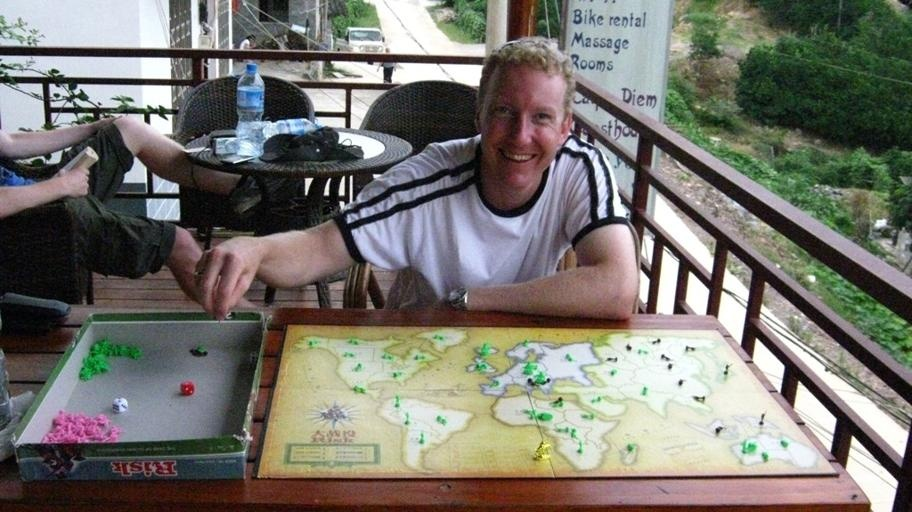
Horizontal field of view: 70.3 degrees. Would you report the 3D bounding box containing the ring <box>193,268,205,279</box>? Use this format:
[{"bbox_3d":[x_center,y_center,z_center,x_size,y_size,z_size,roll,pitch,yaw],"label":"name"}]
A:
[{"bbox_3d":[-0.857,0.057,2.158,0.033,0.023,0.032,0,19,0],"label":"ring"}]

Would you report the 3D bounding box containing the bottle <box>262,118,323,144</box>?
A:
[{"bbox_3d":[-0.966,-0.737,3.744,0.378,0.098,0.144,-12,55,-17],"label":"bottle"}]

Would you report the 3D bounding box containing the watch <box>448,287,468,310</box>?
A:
[{"bbox_3d":[0.010,0.150,2.295,0.069,0.066,0.030,-4,-20,25],"label":"watch"}]

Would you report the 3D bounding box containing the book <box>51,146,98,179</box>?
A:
[{"bbox_3d":[-2.019,-0.500,3.440,0.316,0.083,0.101,-31,38,20],"label":"book"}]

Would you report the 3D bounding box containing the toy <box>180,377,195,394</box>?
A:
[{"bbox_3d":[-0.800,0.385,1.945,0.038,0.038,0.039,32,2,-10],"label":"toy"}]

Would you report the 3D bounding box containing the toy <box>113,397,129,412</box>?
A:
[{"bbox_3d":[-0.976,0.438,1.884,0.039,0.033,0.039,7,20,21],"label":"toy"}]

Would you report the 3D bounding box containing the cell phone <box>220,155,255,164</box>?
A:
[{"bbox_3d":[-1.152,-0.508,3.399,0.161,0.016,0.092,-10,20,-44],"label":"cell phone"}]
